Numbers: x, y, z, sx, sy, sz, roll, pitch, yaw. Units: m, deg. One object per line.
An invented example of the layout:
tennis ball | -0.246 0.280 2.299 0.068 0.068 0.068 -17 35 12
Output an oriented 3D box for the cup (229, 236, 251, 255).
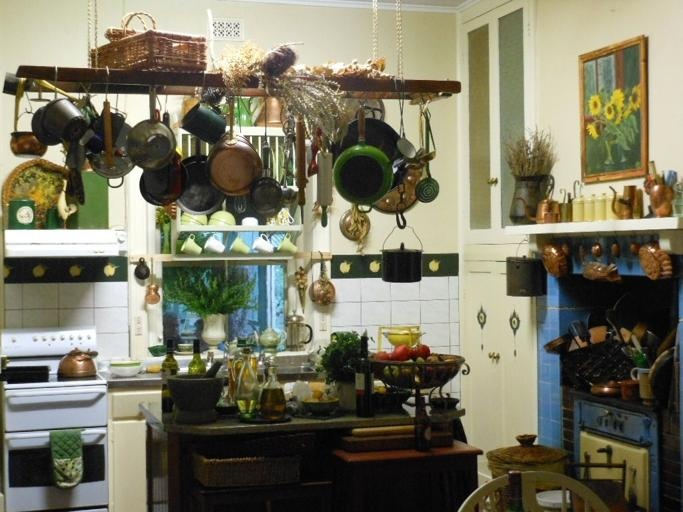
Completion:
cup | -0.754 -0.075 5.196 0.129 0.138 0.119 -1 -1 0

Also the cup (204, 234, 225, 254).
cup | -0.930 -0.074 5.182 0.129 0.137 0.145 18 32 1

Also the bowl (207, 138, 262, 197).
bowl | -0.505 -0.416 3.271 0.199 0.275 0.103 -2 6 -6

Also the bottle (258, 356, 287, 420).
bottle | -0.344 0.660 3.441 0.135 0.251 0.195 -1 -1 -6

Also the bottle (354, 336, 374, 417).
bottle | 0.112 0.585 3.498 0.088 0.404 0.138 -1 -1 0

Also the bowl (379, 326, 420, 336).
bowl | 0.370 0.478 4.417 0.256 0.087 0.206 1 -2 -8

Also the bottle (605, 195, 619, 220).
bottle | 1.600 -0.285 4.180 0.096 0.156 0.103 0 -5 0

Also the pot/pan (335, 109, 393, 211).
pot/pan | 0.096 -0.460 3.347 0.284 0.437 0.198 -1 -1 -1

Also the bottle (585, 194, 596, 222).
bottle | 1.519 -0.291 4.277 0.038 0.153 0.082 0 -1 -25

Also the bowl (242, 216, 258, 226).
bowl | -0.659 -0.254 5.080 0.128 0.052 0.066 -1 -1 -27

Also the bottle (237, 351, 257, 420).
bottle | -0.463 0.614 3.409 0.108 0.322 0.099 -1 -1 0

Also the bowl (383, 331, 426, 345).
bowl | 0.378 0.509 4.327 0.153 0.092 0.342 -1 0 -13

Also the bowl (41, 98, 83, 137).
bowl | -1.241 -0.610 3.133 0.187 0.192 0.090 -2 -1 24

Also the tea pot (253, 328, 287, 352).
tea pot | -0.542 0.634 5.325 0.166 0.181 0.219 0 -6 2

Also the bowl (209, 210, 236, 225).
bowl | -0.851 -0.272 5.007 0.212 0.120 0.168 -1 -1 -20

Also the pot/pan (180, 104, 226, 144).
pot/pan | -0.655 -0.628 3.333 0.209 0.199 0.156 -1 -1 -30

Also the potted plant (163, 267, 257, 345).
potted plant | -1.019 0.344 5.521 0.536 0.744 0.705 0 -16 -6

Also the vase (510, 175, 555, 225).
vase | 1.297 -0.355 4.730 0.228 0.359 0.337 14 -15 -40

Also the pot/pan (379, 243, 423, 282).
pot/pan | 0.354 0.026 4.193 0.211 0.220 0.227 1 1 35

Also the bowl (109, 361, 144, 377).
bowl | -1.477 0.768 4.779 0.210 0.100 0.171 -1 -1 -17

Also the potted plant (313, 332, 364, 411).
potted plant | 0.022 0.576 3.584 0.248 0.342 0.224 -16 -19 12

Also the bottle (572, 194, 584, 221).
bottle | 1.469 -0.288 4.356 0.040 0.148 0.109 -1 -1 -19

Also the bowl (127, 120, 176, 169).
bowl | -0.860 -0.503 3.152 0.200 0.212 0.144 -1 -1 21

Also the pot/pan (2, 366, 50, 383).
pot/pan | -2.034 0.762 4.503 0.276 0.084 0.219 -1 0 -18

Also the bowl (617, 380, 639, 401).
bowl | 1.709 0.800 4.180 0.092 0.086 0.106 0 -3 -3

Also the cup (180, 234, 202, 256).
cup | -1.093 -0.064 5.138 0.142 0.148 0.141 12 -9 2

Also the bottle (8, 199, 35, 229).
bottle | -2.122 -0.274 4.644 0.170 0.200 0.165 1 -2 -33

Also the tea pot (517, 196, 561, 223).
tea pot | 1.296 -0.297 4.590 0.299 0.182 0.173 -2 -1 42

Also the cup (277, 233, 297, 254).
cup | -0.433 -0.086 5.353 0.145 0.161 0.187 0 -1 -40

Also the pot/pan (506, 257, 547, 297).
pot/pan | 1.213 0.119 4.686 0.232 0.274 0.267 0 1 -10

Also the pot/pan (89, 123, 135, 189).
pot/pan | -1.074 -0.503 3.285 0.198 0.260 0.140 -1 -1 -12

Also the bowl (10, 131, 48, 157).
bowl | -1.692 -0.604 3.787 0.152 0.099 0.155 1 -7 0

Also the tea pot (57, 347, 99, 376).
tea pot | -1.773 0.706 4.706 0.164 0.159 0.218 -1 -3 30

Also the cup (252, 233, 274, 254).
cup | -0.598 -0.091 5.335 0.155 0.153 0.235 -1 -1 -6
